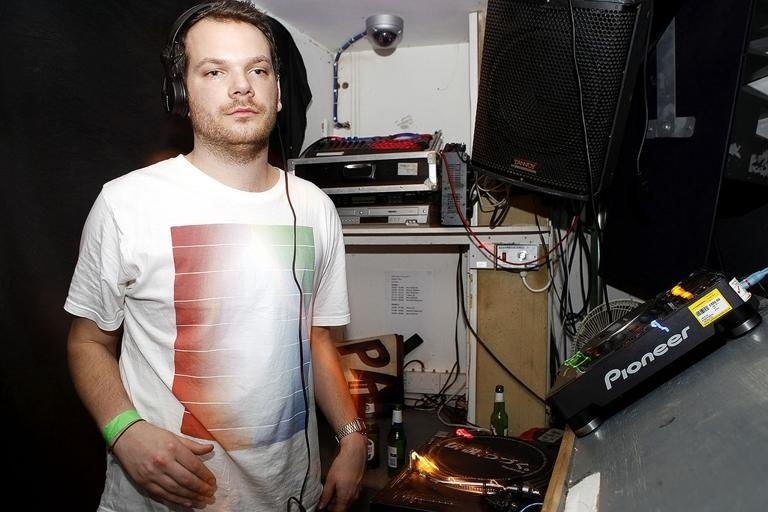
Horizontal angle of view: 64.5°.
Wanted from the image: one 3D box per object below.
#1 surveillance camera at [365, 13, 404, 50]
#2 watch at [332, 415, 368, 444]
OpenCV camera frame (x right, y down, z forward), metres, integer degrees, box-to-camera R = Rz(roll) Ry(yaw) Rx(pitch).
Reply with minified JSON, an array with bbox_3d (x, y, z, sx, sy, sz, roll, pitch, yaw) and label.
[{"bbox_3d":[0.001,-1.016,2.810,0.180,0.144,0.188,3,-10,4],"label":"surveillance camera"},{"bbox_3d":[-0.101,0.497,1.818,0.090,0.092,0.063,-29,49,8],"label":"watch"}]
